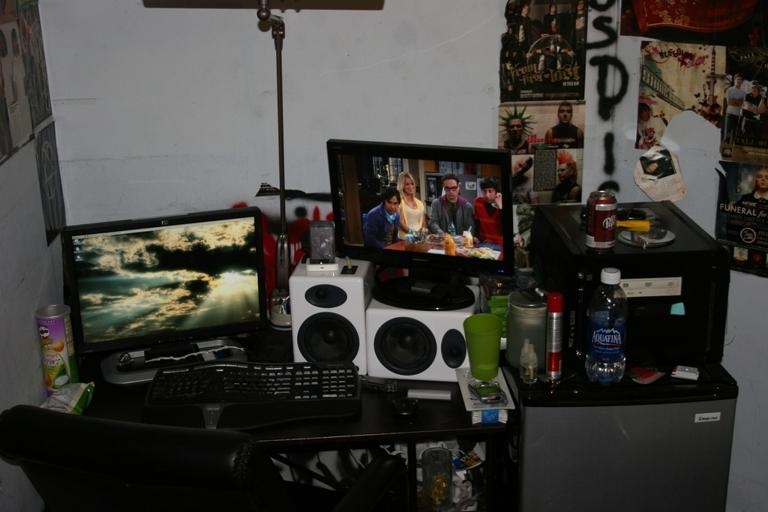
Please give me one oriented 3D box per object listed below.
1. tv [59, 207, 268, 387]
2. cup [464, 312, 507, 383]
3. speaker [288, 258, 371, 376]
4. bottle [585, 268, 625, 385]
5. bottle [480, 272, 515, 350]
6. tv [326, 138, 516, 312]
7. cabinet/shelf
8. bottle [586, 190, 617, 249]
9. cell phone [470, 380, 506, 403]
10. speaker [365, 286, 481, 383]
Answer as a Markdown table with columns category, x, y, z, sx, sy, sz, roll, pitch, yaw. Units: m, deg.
| category | x | y | z | sx | sy | sz | roll | pitch | yaw |
| --- | --- | --- | --- | --- | --- | --- | --- | --- | --- |
| tv | -0.750 | 0.154 | 2.159 | 0.494 | 0.404 | 0.244 | -7 | 24 | -9 |
| cup | 0.327 | 0.291 | 2.041 | 0.113 | 0.208 | 0.186 | 2 | 7 | 23 |
| speaker | -0.174 | 0.213 | 2.200 | 0.266 | 0.362 | 0.221 | -1 | 16 | 0 |
| bottle | 0.677 | 0.233 | 1.923 | 0.114 | 0.308 | 0.070 | 1 | 7 | 17 |
| bottle | 0.403 | 0.193 | 2.245 | 0.167 | 0.225 | 0.079 | -1 | -25 | 6 |
| tv | 0.114 | -0.096 | 2.113 | 0.527 | 0.471 | 0.192 | 4 | 29 | 12 |
| cabinet/shelf | 0.791 | 0.101 | 2.105 | 0.515 | 0.346 | 0.543 | -1 | 17 | 3 |
| bottle | 0.671 | -0.112 | 1.964 | 0.086 | 0.174 | 0.141 | 1 | 7 | 17 |
| cell phone | 0.324 | 0.422 | 1.970 | 0.090 | 0.045 | 0.107 | -4 | 8 | -21 |
| speaker | 0.134 | 0.241 | 2.247 | 0.444 | 0.279 | 0.466 | -2 | 18 | -8 |
